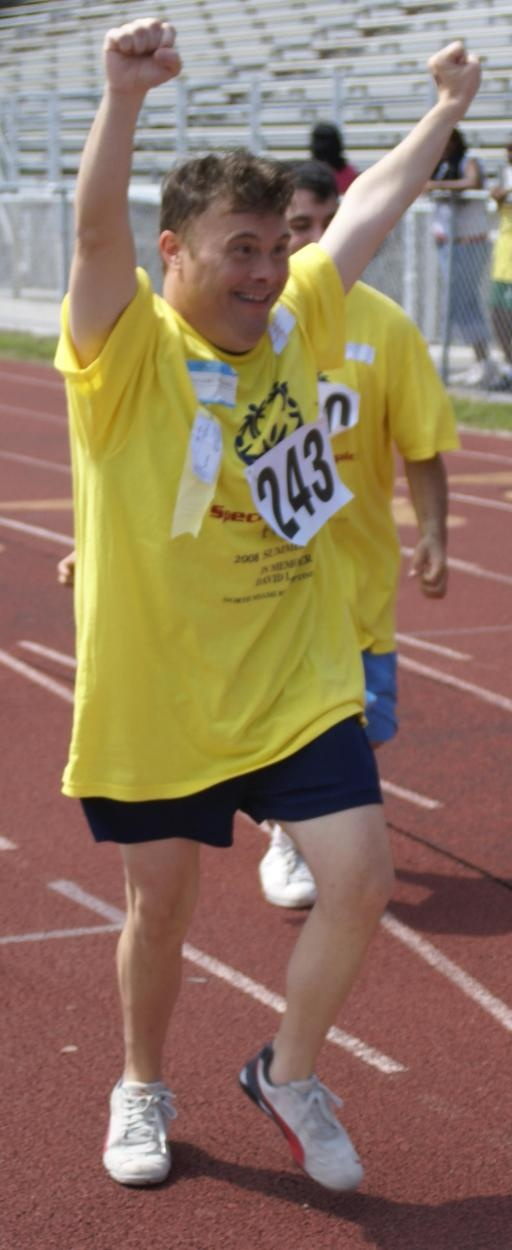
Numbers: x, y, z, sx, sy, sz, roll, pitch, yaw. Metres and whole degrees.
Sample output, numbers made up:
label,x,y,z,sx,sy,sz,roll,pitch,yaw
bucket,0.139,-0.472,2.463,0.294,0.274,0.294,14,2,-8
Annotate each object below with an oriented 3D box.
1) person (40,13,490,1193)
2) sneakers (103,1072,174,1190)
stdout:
label,x,y,z,sx,sy,sz,roll,pitch,yaw
person,0.003,0.083,1.678,0.671,1.788,0.577,-4,9,-22
sneakers,-0.206,0.891,1.781,0.074,0.090,0.199,1,-1,-7
